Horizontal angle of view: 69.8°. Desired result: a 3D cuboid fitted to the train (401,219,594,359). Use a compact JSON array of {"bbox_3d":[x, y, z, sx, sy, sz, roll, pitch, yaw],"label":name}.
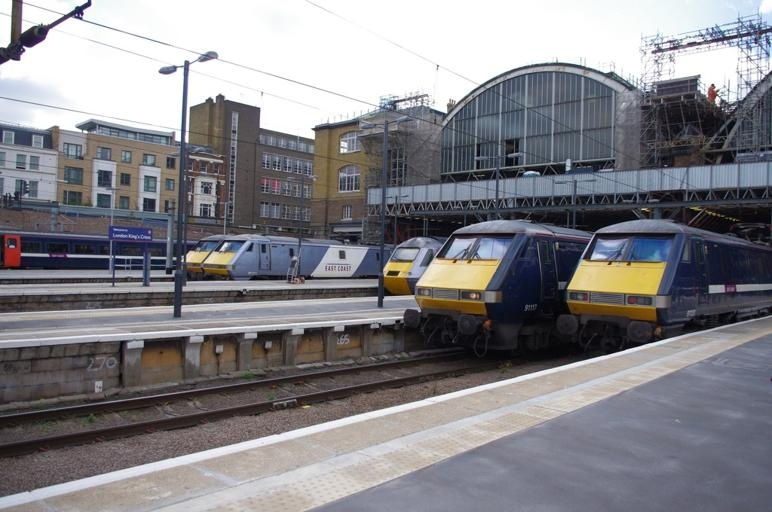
[{"bbox_3d":[3.664,1.064,17.588,4.723,4.326,2.492,-5,6,-35],"label":"train"}]
